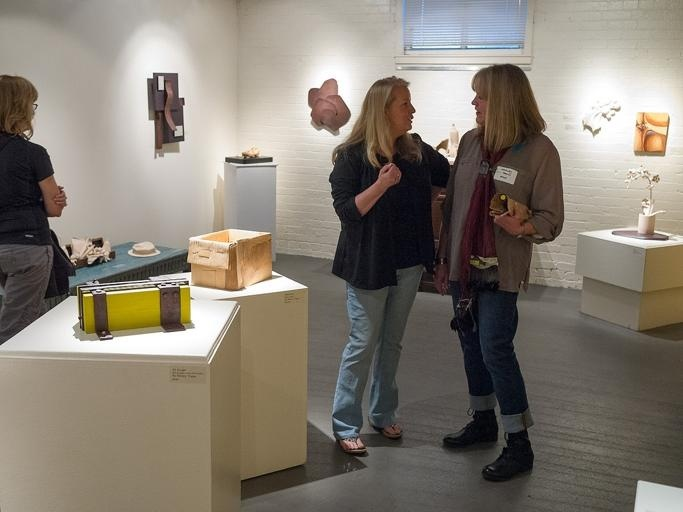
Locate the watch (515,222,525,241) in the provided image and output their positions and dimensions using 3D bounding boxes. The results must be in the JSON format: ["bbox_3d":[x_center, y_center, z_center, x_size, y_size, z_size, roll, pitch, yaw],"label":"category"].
[{"bbox_3d":[0.899,-0.118,2.516,0.023,0.067,0.054,8,0,-6],"label":"watch"}]

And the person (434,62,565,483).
[{"bbox_3d":[0.810,0.094,2.718,0.370,2.134,0.617,-10,17,-41],"label":"person"}]

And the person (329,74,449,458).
[{"bbox_3d":[0.242,0.072,2.876,0.624,2.084,0.443,0,13,-7],"label":"person"}]

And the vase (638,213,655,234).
[{"bbox_3d":[3.173,-0.316,5.296,0.147,0.215,0.218,1,-3,5],"label":"vase"}]

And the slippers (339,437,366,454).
[{"bbox_3d":[0.068,1.084,2.890,0.070,0.069,0.155,0,-3,-37],"label":"slippers"}]

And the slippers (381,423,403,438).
[{"bbox_3d":[0.312,1.053,3.061,0.060,0.050,0.118,-1,-1,-30],"label":"slippers"}]

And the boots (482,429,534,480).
[{"bbox_3d":[0.908,1.059,2.733,0.283,0.248,0.129,-12,18,-8],"label":"boots"}]

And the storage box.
[{"bbox_3d":[-0.549,-0.050,2.560,0.320,0.227,0.338,12,18,38],"label":"storage box"}]
